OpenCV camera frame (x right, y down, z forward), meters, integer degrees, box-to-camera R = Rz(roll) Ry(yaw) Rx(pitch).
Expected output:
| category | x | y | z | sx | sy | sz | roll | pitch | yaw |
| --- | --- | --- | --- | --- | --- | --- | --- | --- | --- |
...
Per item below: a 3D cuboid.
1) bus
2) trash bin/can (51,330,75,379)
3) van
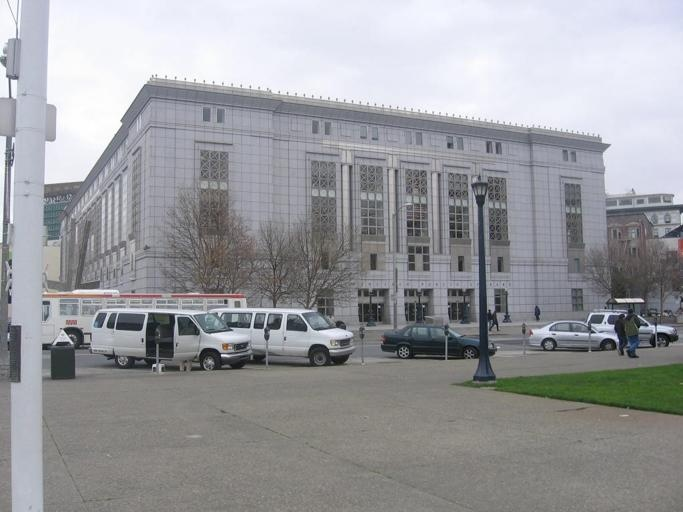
| category | x | y | z | sx | sy | sz | roll | pitch | yaw |
| --- | --- | --- | --- | --- | --- | --- | --- | --- | --- |
| bus | -8.602 | 2.395 | 35.762 | 11.769 | 3.900 | 3.619 | 0 | -2 | -18 |
| trash bin/can | -7.983 | 2.942 | 21.430 | 0.647 | 1.203 | 0.899 | 1 | -7 | -22 |
| van | -4.184 | 2.847 | 25.861 | 8.297 | 2.117 | 3.175 | 1 | -7 | -21 |
